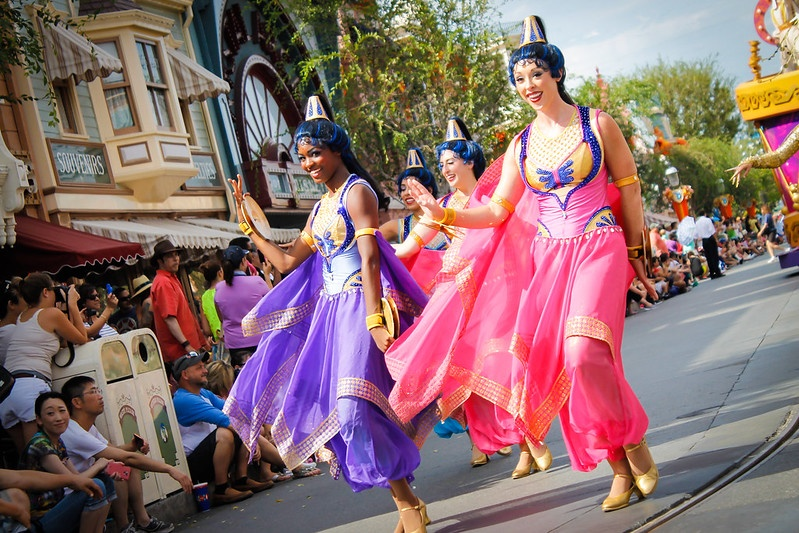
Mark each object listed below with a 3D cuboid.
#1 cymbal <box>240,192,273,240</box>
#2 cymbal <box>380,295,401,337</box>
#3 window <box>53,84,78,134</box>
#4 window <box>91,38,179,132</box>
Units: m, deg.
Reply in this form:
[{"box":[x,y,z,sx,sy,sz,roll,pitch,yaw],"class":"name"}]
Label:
[{"box":[-1.120,-0.370,4.443,0.072,0.335,0.331,-24,-46,22],"class":"cymbal"},{"box":[-0.059,0.331,3.762,0.049,0.209,0.203,-8,32,-15],"class":"cymbal"},{"box":[-7.218,-3.369,12.184,0.075,1.083,0.390,-8,7,15],"class":"window"},{"box":[-6.173,-4.122,13.112,0.207,2.901,1.930,-11,2,42],"class":"window"}]
